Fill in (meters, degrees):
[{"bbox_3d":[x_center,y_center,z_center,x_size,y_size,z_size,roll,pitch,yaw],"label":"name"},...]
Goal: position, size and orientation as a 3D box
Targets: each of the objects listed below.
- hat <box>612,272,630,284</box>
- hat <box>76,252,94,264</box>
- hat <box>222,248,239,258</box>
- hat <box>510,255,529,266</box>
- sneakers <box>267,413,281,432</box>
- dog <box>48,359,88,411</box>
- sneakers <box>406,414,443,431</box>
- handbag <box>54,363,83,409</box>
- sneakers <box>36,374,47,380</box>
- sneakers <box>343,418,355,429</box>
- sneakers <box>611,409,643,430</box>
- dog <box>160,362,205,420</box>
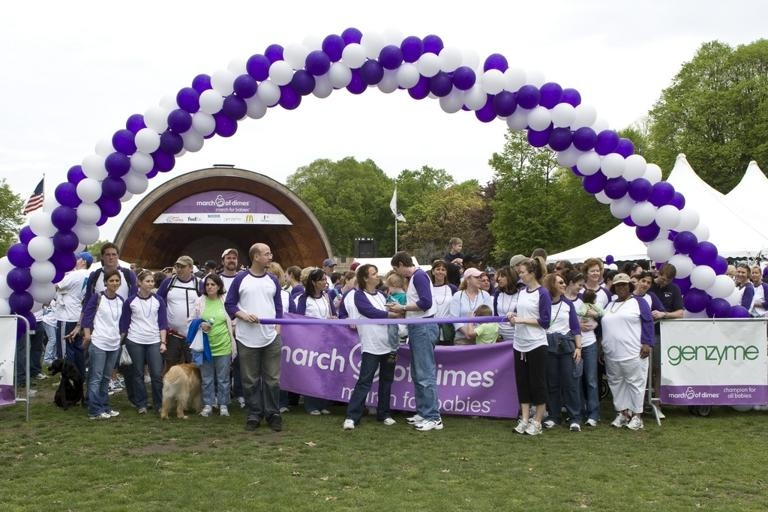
[{"bbox_3d":[3.852,0.345,11.627,0.251,0.172,0.341,4,9,20],"label":"hat"},{"bbox_3d":[-5.766,0.011,13.781,0.270,0.157,0.188,29,23,-1],"label":"hat"},{"bbox_3d":[-3.492,-0.099,16.245,0.386,0.202,0.554,0,-15,-18],"label":"hat"},{"bbox_3d":[2.427,0.048,13.004,0.347,0.184,0.254,-17,1,13],"label":"hat"},{"bbox_3d":[-1.699,2.564,11.100,0.127,0.280,0.380,5,-39,-13],"label":"sneakers"},{"bbox_3d":[-5.390,2.162,12.230,0.471,0.957,1.024,-2,-27,-21],"label":"dog"},{"bbox_3d":[0.641,2.641,11.415,0.549,0.253,0.206,3,-3,-3],"label":"sneakers"},{"bbox_3d":[-5.389,2.202,12.231,0.402,0.593,0.574,-9,-44,-19],"label":"handbag"},{"bbox_3d":[-7.008,2.439,14.613,0.181,0.084,0.085,-2,-5,31],"label":"sneakers"},{"bbox_3d":[-0.551,2.631,11.328,0.192,0.123,0.180,0,8,-4],"label":"sneakers"},{"bbox_3d":[3.944,2.628,11.544,0.257,0.170,0.423,-5,-20,33],"label":"sneakers"},{"bbox_3d":[-3.350,2.207,11.769,0.699,0.902,0.559,-4,10,-33],"label":"dog"}]
